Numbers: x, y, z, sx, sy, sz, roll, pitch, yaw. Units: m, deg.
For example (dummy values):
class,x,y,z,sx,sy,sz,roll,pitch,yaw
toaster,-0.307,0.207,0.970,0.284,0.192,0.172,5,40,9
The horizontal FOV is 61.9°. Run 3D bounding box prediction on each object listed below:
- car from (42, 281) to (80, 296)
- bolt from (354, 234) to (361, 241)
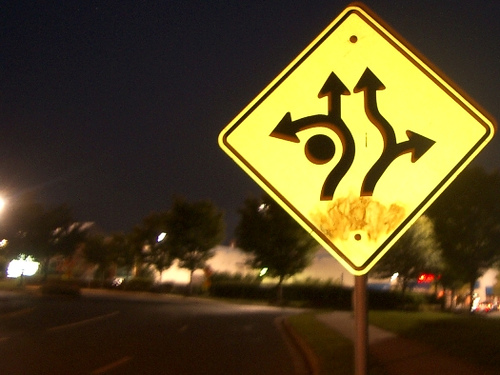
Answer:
class,x,y,z,sx,sy,sz,roll,pitch,yaw
car,-12.592,6.780,27.884,3.281,0.722,1.957,-7,-11,34
bolt,0.611,0.276,2.325,0.033,0.035,0.003,-1,-7,1
